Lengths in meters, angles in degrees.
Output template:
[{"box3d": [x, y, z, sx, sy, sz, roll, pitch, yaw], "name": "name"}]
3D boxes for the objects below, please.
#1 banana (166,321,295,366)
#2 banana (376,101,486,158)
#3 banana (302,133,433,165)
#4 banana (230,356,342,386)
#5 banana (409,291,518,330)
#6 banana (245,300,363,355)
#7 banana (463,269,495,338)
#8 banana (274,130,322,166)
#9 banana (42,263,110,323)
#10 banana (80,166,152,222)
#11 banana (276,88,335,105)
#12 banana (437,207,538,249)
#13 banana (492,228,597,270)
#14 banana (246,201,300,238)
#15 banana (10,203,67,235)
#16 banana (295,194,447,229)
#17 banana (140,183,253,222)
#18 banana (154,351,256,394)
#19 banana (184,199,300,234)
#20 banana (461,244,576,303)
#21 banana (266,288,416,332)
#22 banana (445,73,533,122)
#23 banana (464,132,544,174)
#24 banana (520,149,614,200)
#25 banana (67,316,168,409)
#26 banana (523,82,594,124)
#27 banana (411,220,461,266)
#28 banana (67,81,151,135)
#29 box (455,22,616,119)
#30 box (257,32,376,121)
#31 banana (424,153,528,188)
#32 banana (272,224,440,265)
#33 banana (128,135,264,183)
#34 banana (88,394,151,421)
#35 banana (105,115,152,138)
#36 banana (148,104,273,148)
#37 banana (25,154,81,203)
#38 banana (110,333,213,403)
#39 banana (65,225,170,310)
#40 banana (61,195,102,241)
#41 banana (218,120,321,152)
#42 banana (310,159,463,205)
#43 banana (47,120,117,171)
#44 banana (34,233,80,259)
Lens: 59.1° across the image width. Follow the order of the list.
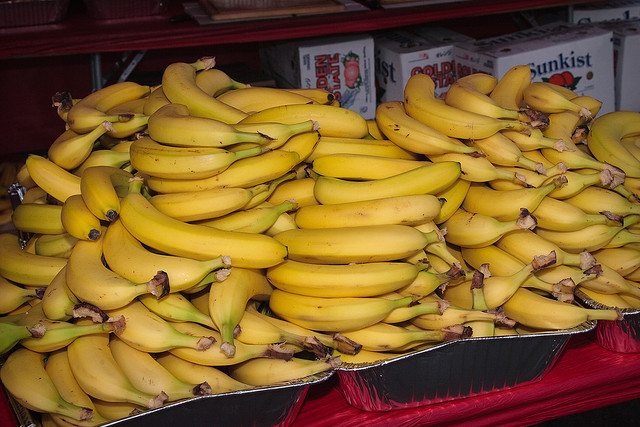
[{"box3d": [-0.285, 0.407, 1.752, 0.351, 0.120, 0.080, 8, 13, -9], "name": "banana"}, {"box3d": [0.407, -0.300, 2.029, 0.284, 0.111, 0.082, 23, -25, 18], "name": "banana"}, {"box3d": [0.160, -0.232, 2.025, 0.348, 0.111, 0.069, 6, -19, -5], "name": "banana"}, {"box3d": [-0.116, 0.494, 1.772, 0.255, 0.086, 0.061, -7, 34, 10], "name": "banana"}, {"box3d": [0.395, 0.326, 1.932, 0.524, 0.168, 0.119, -1, -8, 4], "name": "banana"}, {"box3d": [-0.041, 0.368, 1.799, 0.284, 0.050, 0.097, 21, 52, 14], "name": "banana"}, {"box3d": [0.525, 0.309, 1.869, 0.075, 0.264, 0.099, 2, -7, -6], "name": "banana"}, {"box3d": [-0.055, -0.245, 2.002, 0.206, 0.064, 0.068, -29, -21, -15], "name": "banana"}, {"box3d": [-0.790, 0.257, 1.841, 0.188, 0.182, 0.063, 8, -13, 10], "name": "banana"}, {"box3d": [-0.655, -0.102, 1.801, 0.211, 0.064, 0.191, 41, 36, 16], "name": "banana"}, {"box3d": [-0.033, -0.478, 2.285, 0.180, 0.074, 0.296, -6, 16, 6], "name": "banana"}, {"box3d": [0.543, 0.040, 2.001, 0.110, 0.173, 0.423, -15, 15, -42], "name": "banana"}, {"box3d": [0.744, 0.154, 2.129, 0.106, 0.160, 0.473, 20, -8, -10], "name": "banana"}, {"box3d": [-0.163, 0.044, 1.975, 0.223, 0.076, 0.066, -23, -8, -24], "name": "banana"}, {"box3d": [-1.014, 0.044, 2.037, 0.094, 0.072, 0.199, 10, -8, 28], "name": "banana"}, {"box3d": [0.147, 0.012, 1.886, 0.498, 0.103, 0.116, -5, 17, 10], "name": "banana"}, {"box3d": [-0.400, -0.047, 1.869, 0.383, 0.128, 0.100, 0, -8, -8], "name": "banana"}, {"box3d": [-0.359, 0.524, 1.975, 0.219, 0.142, 0.639, 7, -20, 1], "name": "banana"}, {"box3d": [-0.293, 0.020, 1.951, 0.426, 0.142, 0.098, 2, -7, 10], "name": "banana"}, {"box3d": [0.711, 0.169, 2.065, 0.468, 0.153, 0.090, -3, 8, -22], "name": "banana"}, {"box3d": [0.061, 0.329, 1.851, 0.494, 0.162, 0.127, 0, -15, 16], "name": "banana"}, {"box3d": [0.628, -0.386, 2.148, 0.270, 0.078, 0.217, 12, 40, -23], "name": "banana"}, {"box3d": [0.649, -0.217, 2.030, 0.224, 0.077, 0.067, 25, 9, -7], "name": "banana"}, {"box3d": [0.912, -0.096, 2.052, 0.293, 0.121, 0.077, -12, 49, 0], "name": "banana"}, {"box3d": [-0.613, 0.462, 1.720, 0.115, 0.307, 0.084, -43, -15, -9], "name": "banana"}, {"box3d": [0.912, -0.402, 2.245, 0.278, 0.080, 0.159, 17, -4, 37], "name": "banana"}, {"box3d": [0.387, 0.100, 1.920, 0.182, 0.042, 0.064, 37, 7, -22], "name": "banana"}, {"box3d": [-0.798, -0.425, 2.172, 0.172, 0.085, 0.315, 13, 27, 23], "name": "banana"}, {"box3d": [1.262, -0.828, 3.529, 0.962, 0.598, 0.496, -14, 35, -9], "name": "box"}, {"box3d": [0.072, -0.855, 3.742, 0.483, 0.455, 0.454, -6, 6, -13], "name": "box"}, {"box3d": [0.541, -0.155, 1.987, 0.243, 0.080, 0.049, 14, 26, -3], "name": "banana"}, {"box3d": [0.112, 0.103, 1.887, 0.626, 0.145, 0.160, -1, 18, 7], "name": "banana"}, {"box3d": [-0.416, -0.150, 1.864, 0.325, 0.080, 0.184, -4, 0, 10], "name": "banana"}, {"box3d": [-0.596, 0.583, 1.694, 0.104, 0.031, 0.069, 17, -38, -10], "name": "banana"}, {"box3d": [-0.693, -0.319, 2.041, 0.177, 0.062, 0.047, -17, -26, -5], "name": "banana"}, {"box3d": [-0.384, -0.280, 1.859, 0.310, 0.082, 0.168, 8, 38, 10], "name": "banana"}, {"box3d": [-0.922, -0.130, 1.992, 0.227, 0.172, 0.108, 2, 19, 30], "name": "banana"}, {"box3d": [-0.484, 0.475, 1.719, 0.253, 0.089, 0.064, 33, 28, 4], "name": "banana"}, {"box3d": [-0.650, 0.190, 1.769, 0.209, 0.265, 0.079, -12, -27, 29], "name": "banana"}, {"box3d": [-0.765, 0.029, 1.879, 0.158, 0.098, 0.095, 47, 2, 22], "name": "banana"}, {"box3d": [-0.173, -0.278, 1.961, 0.376, 0.133, 0.107, 9, 12, 37], "name": "banana"}, {"box3d": [0.226, -0.075, 1.963, 0.558, 0.178, 0.151, -4, 12, 19], "name": "banana"}, {"box3d": [-0.891, -0.228, 2.084, 0.086, 0.238, 0.113, -21, -5, -8], "name": "banana"}, {"box3d": [-0.924, 0.114, 2.042, 0.189, 0.092, 0.065, 1, -9, 8], "name": "banana"}]
